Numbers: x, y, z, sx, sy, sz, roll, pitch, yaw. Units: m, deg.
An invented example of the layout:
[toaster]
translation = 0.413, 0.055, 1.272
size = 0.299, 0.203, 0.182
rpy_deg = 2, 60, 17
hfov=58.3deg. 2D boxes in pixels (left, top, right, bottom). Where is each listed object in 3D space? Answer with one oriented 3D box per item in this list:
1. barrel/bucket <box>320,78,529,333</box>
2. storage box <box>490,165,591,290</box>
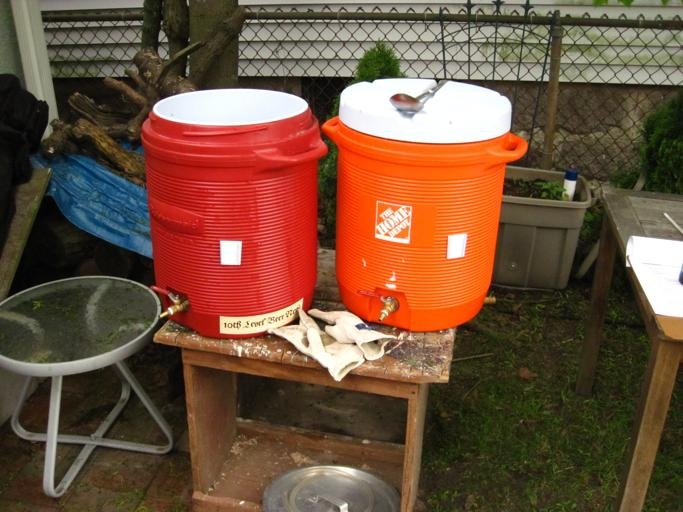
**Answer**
[barrel/bucket]
translation = 0.352, -0.212, 2.753
size = 0.852, 1.038, 0.527
rpy_deg = -1, 26, -3
[storage box]
translation = 1.400, -0.111, 4.812
size = 0.767, 0.829, 1.115
rpy_deg = 4, 21, 10
